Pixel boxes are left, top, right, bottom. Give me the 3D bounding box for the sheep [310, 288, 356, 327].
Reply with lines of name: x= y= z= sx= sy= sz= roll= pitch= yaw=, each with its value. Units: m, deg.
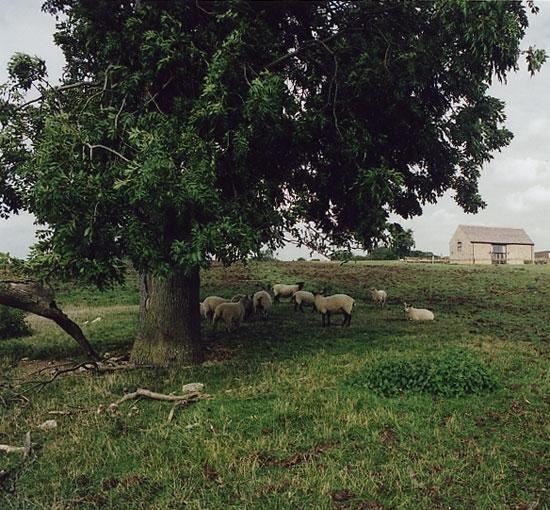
sheep: x=2.234 y=2.120 z=23.029 sx=1.473 sy=1.199 sz=0.913 roll=0 pitch=8 yaw=19
